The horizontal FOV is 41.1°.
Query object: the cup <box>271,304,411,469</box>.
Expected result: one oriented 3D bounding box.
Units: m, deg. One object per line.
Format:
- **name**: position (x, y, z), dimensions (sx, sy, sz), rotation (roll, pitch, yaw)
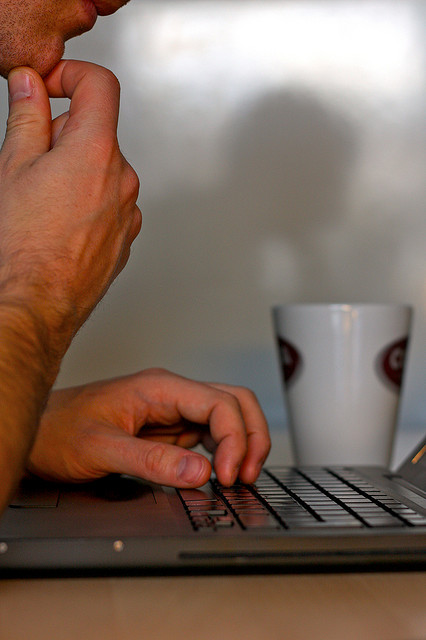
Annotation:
- **cup**: position (0.135, 0.069, 0.602), dimensions (0.148, 0.161, 0.145), rotation (-2, 0, 0)
